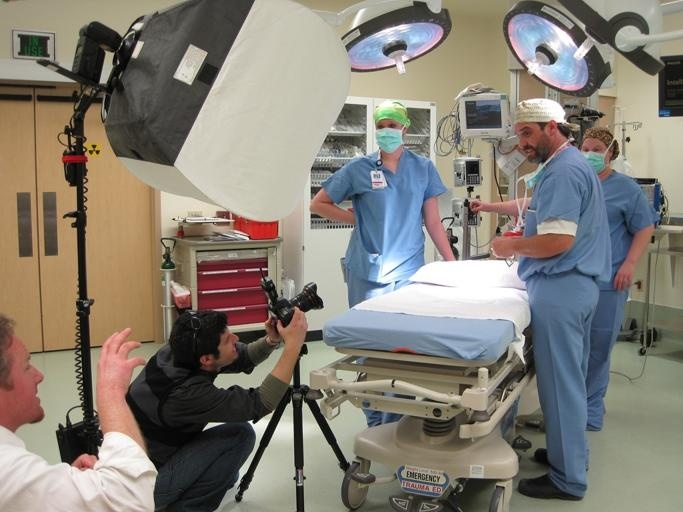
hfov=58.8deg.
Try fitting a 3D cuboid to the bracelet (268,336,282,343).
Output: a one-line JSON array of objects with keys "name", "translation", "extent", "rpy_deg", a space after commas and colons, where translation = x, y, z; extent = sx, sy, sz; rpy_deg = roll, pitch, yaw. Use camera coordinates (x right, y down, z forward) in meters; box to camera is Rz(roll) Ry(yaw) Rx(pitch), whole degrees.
[{"name": "bracelet", "translation": [-0.300, 0.385, 2.738], "extent": [0.049, 0.030, 0.039], "rpy_deg": [-5, -1, 33]}]

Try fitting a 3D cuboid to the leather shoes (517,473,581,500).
[{"name": "leather shoes", "translation": [1.011, 1.139, 2.986], "extent": [0.293, 0.131, 0.112], "rpy_deg": [5, -1, 17]}]

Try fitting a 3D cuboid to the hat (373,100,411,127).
[{"name": "hat", "translation": [0.279, -0.768, 3.305], "extent": [0.159, 0.137, 0.135], "rpy_deg": [-1, 20, -5]}]

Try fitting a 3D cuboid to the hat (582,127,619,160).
[{"name": "hat", "translation": [1.678, -0.734, 3.896], "extent": [0.279, 0.154, 0.266], "rpy_deg": [-11, 16, -40]}]

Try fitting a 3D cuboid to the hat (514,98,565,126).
[{"name": "hat", "translation": [0.943, -0.681, 2.925], "extent": [0.150, 0.086, 0.154], "rpy_deg": [3, 10, 11]}]

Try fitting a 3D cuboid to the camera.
[{"name": "camera", "translation": [-0.184, 0.213, 2.546], "extent": [0.192, 0.131, 0.216], "rpy_deg": [-11, 4, 23]}]

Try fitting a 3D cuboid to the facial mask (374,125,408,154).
[{"name": "facial mask", "translation": [0.254, -0.620, 3.261], "extent": [0.123, 0.114, 0.130], "rpy_deg": [1, 13, 11]}]

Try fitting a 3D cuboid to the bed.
[{"name": "bed", "translation": [0.442, 0.683, 2.828], "extent": [0.783, 1.072, 1.077], "rpy_deg": [5, 11, 27]}]
